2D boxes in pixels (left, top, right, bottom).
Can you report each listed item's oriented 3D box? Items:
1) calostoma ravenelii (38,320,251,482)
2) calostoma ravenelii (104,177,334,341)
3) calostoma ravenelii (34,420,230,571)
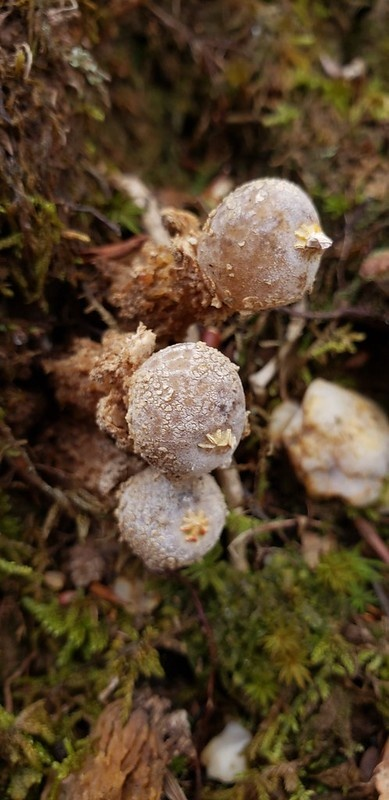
[{"bbox_3d":[-0.167,-0.028,1.867,0.662,0.347,0.423,15,33,32],"label":"calostoma ravenelii"},{"bbox_3d":[0.102,-0.401,1.921,0.275,0.592,0.448,-5,81,-52],"label":"calostoma ravenelii"},{"bbox_3d":[-0.216,0.286,2.034,0.588,0.263,0.394,36,53,16],"label":"calostoma ravenelii"}]
